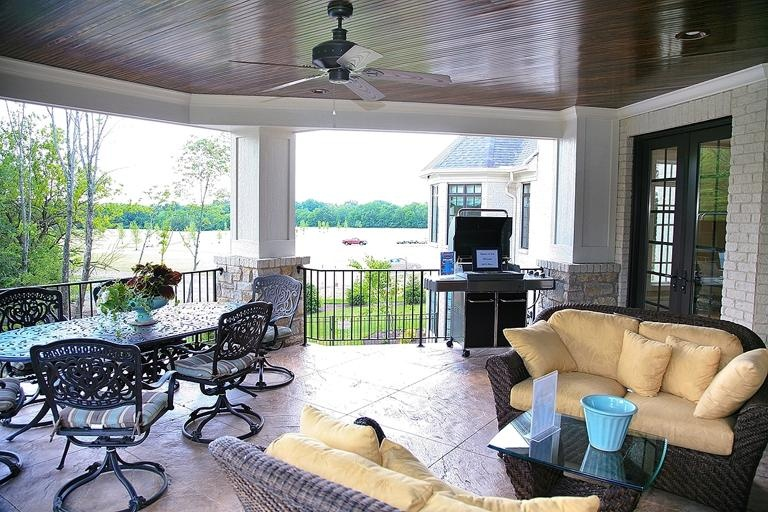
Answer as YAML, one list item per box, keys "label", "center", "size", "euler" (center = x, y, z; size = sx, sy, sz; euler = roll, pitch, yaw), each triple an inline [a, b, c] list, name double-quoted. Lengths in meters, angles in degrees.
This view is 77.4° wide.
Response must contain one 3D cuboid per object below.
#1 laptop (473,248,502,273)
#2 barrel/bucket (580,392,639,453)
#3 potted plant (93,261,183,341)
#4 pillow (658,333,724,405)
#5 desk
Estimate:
- label: "laptop"
  center: [1.354, 0.059, 6.319]
  size: [0.446, 0.262, 0.299]
  euler: [0, -4, -4]
- label: "barrel/bucket"
  center: [1.442, 1.118, 3.223]
  size: [0.401, 0.257, 0.365]
  euler: [2, -4, 0]
- label: "potted plant"
  center: [-2.220, 0.391, 4.390]
  size: [0.736, 0.471, 0.723]
  euler: [1, 1, 30]
- label: "pillow"
  center: [2.461, 0.933, 3.842]
  size: [0.268, 0.456, 0.443]
  euler: [16, 4, -39]
- label: "desk"
  center: [1.190, 0.809, 6.538]
  size: [1.980, 1.105, 1.030]
  euler: [1, 0, -28]
